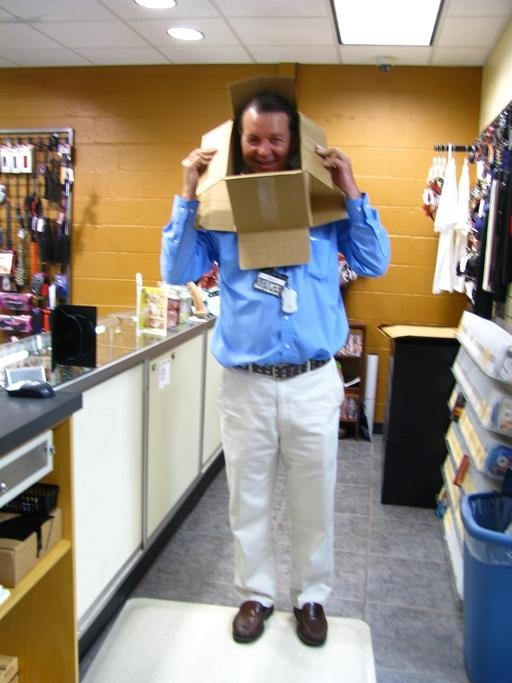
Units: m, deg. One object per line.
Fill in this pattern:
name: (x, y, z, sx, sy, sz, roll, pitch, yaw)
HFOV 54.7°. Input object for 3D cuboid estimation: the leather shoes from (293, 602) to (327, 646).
leather shoes: (0.188, 0.920, 1.647, 0.090, 0.097, 0.237, -4, -3, 1)

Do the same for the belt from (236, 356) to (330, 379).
belt: (0.085, 0.082, 1.443, 0.215, 0.059, 0.054, 3, 4, 3)

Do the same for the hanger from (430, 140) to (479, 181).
hanger: (1.373, -1.264, 3.446, 0.294, 0.136, 0.194, -3, 11, -20)

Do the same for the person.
person: (0.051, 0.132, 1.529, 0.575, 1.654, 0.365, 1, 6, 9)

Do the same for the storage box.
storage box: (0.029, -0.424, 1.319, 0.425, 0.500, 0.308, 1, 0, 5)

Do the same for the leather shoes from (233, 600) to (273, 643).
leather shoes: (-0.023, 0.907, 1.602, 0.053, 0.062, 0.156, 0, -5, 11)

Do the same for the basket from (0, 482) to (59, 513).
basket: (-0.486, 0.328, 1.045, 0.062, 0.040, 0.101, 0, 8, 10)

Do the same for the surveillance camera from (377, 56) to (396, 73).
surveillance camera: (0.902, -1.945, 3.469, 0.115, 0.053, 0.212, 4, 4, 14)

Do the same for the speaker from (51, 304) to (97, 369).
speaker: (-0.505, -0.011, 1.396, 0.160, 0.178, 0.078, 4, 4, 16)
